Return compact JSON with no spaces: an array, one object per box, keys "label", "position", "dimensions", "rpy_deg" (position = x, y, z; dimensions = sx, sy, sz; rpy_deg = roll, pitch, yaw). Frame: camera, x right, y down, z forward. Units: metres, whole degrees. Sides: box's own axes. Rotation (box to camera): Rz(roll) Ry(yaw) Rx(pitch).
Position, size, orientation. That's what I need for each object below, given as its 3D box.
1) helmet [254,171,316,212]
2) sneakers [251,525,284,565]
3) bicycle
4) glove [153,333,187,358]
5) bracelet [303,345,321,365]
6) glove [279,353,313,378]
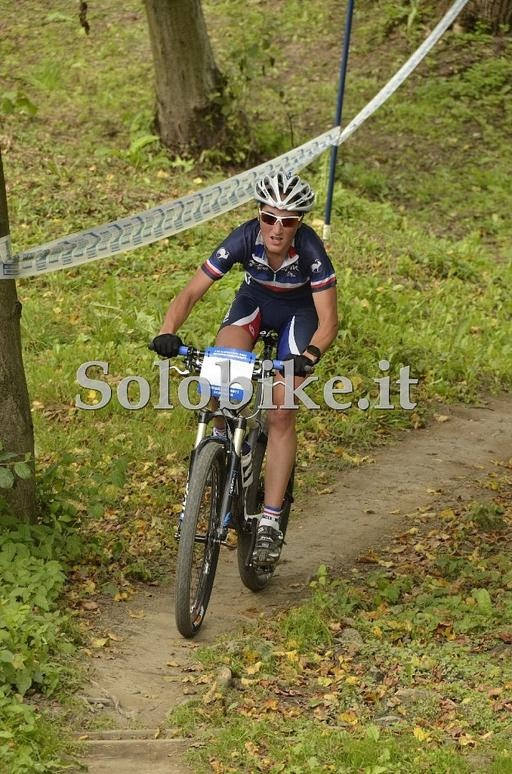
[{"label":"helmet","position":[0.148,-0.974,4.306],"dimensions":[0.291,0.220,0.294],"rpy_deg":[-9,9,2]},{"label":"sneakers","position":[0.063,0.792,4.286],"dimensions":[0.111,0.101,0.250],"rpy_deg":[6,2,1]},{"label":"bicycle","position":[-0.150,0.469,4.328],"dimensions":[0.776,1.543,1.195],"rpy_deg":[-11,10,-1]},{"label":"glove","position":[-0.429,-0.194,4.063],"dimensions":[0.145,0.126,0.249],"rpy_deg":[-10,9,-6]},{"label":"bracelet","position":[0.271,-0.155,4.062],"dimensions":[0.082,0.044,0.118],"rpy_deg":[42,27,14]},{"label":"glove","position":[0.220,-0.105,3.967],"dimensions":[0.095,0.110,0.154],"rpy_deg":[-4,10,30]}]
